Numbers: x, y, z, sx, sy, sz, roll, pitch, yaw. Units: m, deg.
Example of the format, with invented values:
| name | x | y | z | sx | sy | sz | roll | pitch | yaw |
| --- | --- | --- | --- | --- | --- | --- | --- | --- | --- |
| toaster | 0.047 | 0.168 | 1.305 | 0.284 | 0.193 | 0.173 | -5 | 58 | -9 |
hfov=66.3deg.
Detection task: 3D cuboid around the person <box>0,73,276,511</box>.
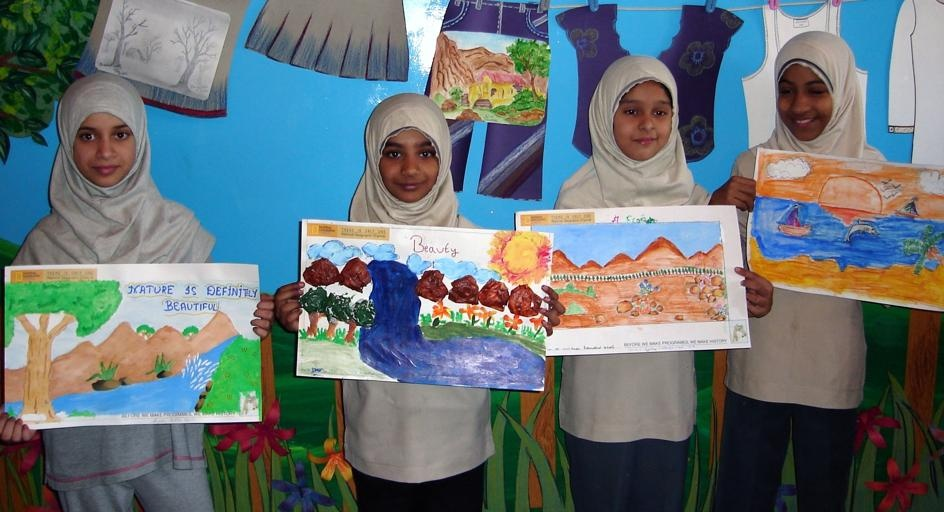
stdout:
| name | x | y | z | sx | sy | sz | roll | pitch | yaw |
| --- | --- | --- | --- | --- | --- | --- | --- | --- | --- |
| person | -1.577 | 0.174 | 3.162 | 0.901 | 1.953 | 0.314 | -5 | 5 | -17 |
